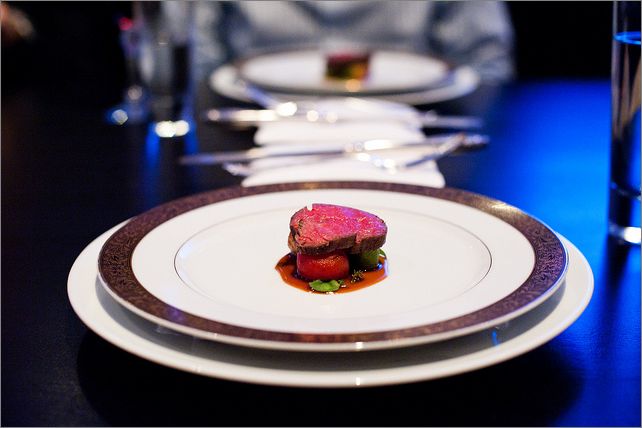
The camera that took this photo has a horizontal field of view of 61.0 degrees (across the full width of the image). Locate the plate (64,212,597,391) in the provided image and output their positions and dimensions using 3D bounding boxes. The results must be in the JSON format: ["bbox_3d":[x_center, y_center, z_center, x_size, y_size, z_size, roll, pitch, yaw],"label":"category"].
[{"bbox_3d":[0.003,0.126,0.786,0.817,0.120,0.285,-1,11,3],"label":"plate"}]
